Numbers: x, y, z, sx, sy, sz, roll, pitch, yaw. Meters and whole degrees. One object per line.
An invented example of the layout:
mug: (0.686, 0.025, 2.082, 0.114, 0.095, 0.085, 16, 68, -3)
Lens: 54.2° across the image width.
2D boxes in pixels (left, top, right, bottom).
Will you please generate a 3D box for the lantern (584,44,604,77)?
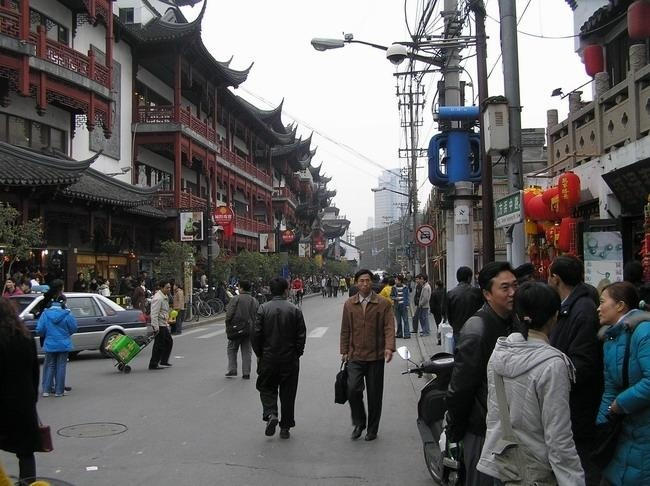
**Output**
lantern: (6.920, -4.767, 16.456, 0.520, 0.917, 0.451, -7, -6, 44)

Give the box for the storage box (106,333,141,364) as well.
storage box: (-4.735, 2.456, 14.721, 0.410, 0.461, 0.750, -45, -2, -4)

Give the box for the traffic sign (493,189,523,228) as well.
traffic sign: (3.090, -0.587, 10.639, 0.262, 0.564, 1.400, -3, -5, 7)
